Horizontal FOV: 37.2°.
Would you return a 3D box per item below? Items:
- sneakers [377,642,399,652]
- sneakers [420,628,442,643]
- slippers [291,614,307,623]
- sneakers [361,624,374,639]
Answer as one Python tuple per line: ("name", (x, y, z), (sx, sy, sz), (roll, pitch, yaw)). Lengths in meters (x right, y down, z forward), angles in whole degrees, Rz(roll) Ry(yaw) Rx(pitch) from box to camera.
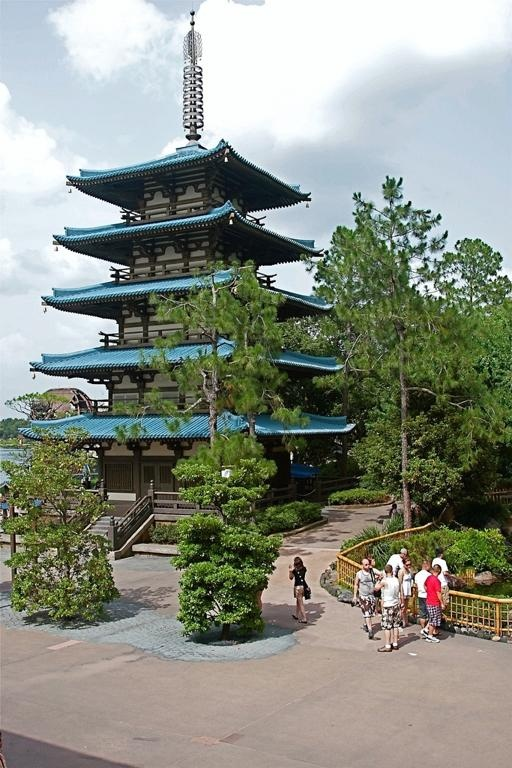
("sneakers", (2.445, 4.852, 14.067), (0.406, 0.155, 0.143), (1, -8, 4))
("sneakers", (3.427, 4.964, 14.940), (0.435, 0.188, 0.148), (25, 12, -2))
("slippers", (0.954, 5.057, 16.462), (0.110, 0.132, 0.353), (11, -5, -37))
("sneakers", (2.261, 4.896, 15.172), (0.136, 0.153, 0.383), (-2, -8, 3))
